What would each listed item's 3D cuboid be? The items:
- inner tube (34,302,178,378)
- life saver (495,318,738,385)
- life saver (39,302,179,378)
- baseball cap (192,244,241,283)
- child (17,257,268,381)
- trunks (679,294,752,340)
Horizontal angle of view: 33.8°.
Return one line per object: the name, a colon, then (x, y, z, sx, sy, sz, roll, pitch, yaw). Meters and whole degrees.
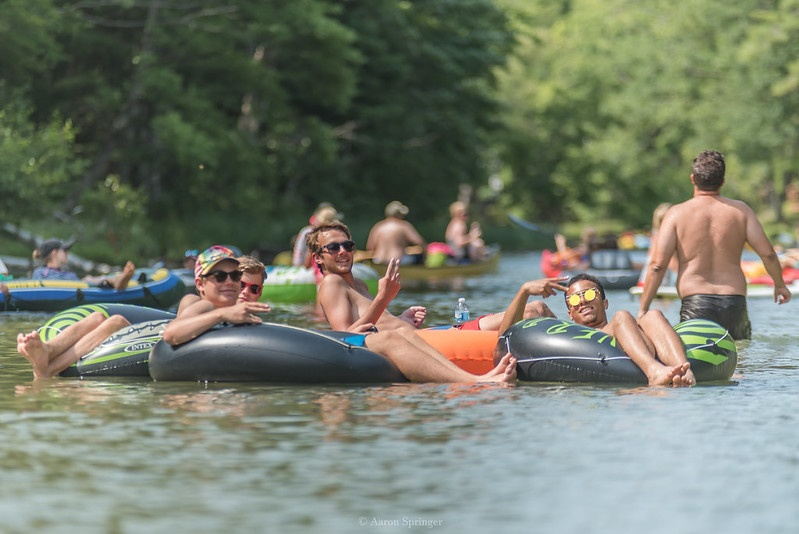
inner tube: (-3.103, 0.800, 14.016, 1.212, 0.288, 0.936, -1, 10, -15)
life saver: (2.184, 0.879, 13.641, 2.359, 0.695, 0.438, -1, -2, 0)
life saver: (-3.175, 0.809, 14.011, 1.207, 0.288, 0.935, 0, 13, -7)
baseball cap: (-1.897, -0.033, 13.634, 0.433, 0.351, 0.300, -1, -2, -4)
child: (-2.532, 0.718, 13.795, 2.649, 0.847, 1.300, -16, 12, -11)
trunks: (3.487, 0.484, 14.838, 0.958, 0.492, 0.540, -1, 5, -11)
